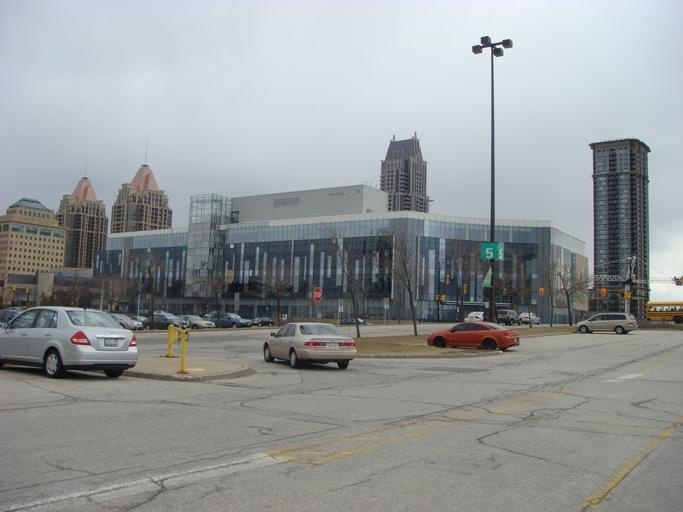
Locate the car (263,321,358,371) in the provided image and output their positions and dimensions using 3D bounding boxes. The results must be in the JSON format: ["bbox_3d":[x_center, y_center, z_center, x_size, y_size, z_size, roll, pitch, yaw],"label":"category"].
[{"bbox_3d":[-1.337,3.339,22.727,2.191,1.508,4.909,4,-6,-27],"label":"car"}]

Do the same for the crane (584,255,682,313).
[{"bbox_3d":[57.244,6.415,122.220,16.671,14.038,18.486,2,-6,22],"label":"crane"}]

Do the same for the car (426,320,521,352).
[{"bbox_3d":[6.681,4.107,30.552,4.190,1.432,1.136,-4,-6,25],"label":"car"}]

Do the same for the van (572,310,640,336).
[{"bbox_3d":[21.776,5.510,48.966,4.040,1.654,2.359,-4,-6,28],"label":"van"}]
